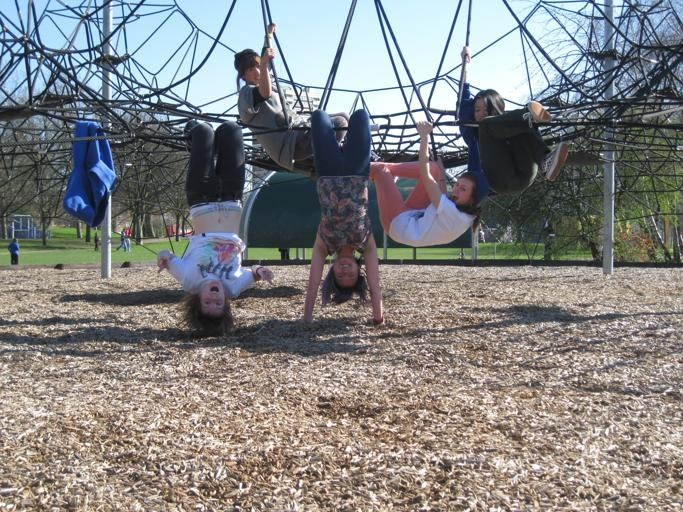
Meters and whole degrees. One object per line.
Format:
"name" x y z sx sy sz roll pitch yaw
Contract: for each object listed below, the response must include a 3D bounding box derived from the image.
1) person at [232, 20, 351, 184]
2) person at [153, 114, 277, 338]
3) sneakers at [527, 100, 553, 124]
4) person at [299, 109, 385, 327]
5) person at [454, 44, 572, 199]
"person" -0.503 -1.531 7.139 1.059 1.678 0.877 -14 15 19
"person" -1.198 -0.306 6.770 0.946 1.883 1.026 0 14 -6
"sneakers" 1.736 -1.251 6.260 0.183 0.188 0.320 15 19 42
"person" 0.057 -0.341 6.706 0.758 2.018 0.339 1 14 -4
"person" 1.673 -1.373 6.767 0.872 1.488 0.979 -3 -13 -34
